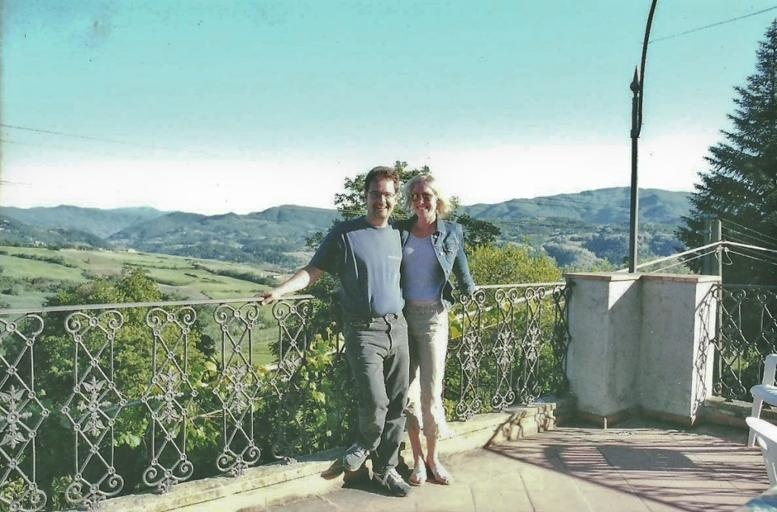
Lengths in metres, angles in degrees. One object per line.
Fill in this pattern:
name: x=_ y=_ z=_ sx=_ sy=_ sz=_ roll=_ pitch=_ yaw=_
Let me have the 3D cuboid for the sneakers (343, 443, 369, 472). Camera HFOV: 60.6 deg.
sneakers: x=-0.416 y=2.476 z=8.213 sx=0.187 sy=0.199 sz=0.509 roll=40 pitch=-5 yaw=12

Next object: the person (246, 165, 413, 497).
person: x=-0.348 y=0.918 z=8.243 sx=1.270 sy=4.068 sz=0.353 roll=0 pitch=0 yaw=1
